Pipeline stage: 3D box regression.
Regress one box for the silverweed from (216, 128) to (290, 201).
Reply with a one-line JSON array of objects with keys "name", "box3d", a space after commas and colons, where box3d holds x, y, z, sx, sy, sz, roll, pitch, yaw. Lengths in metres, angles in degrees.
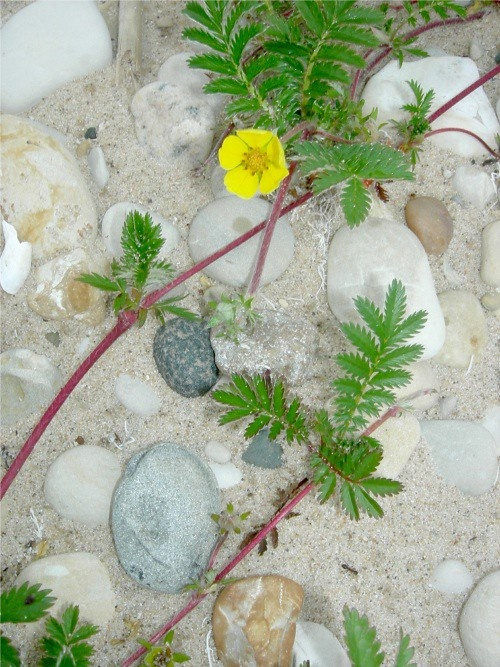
[{"name": "silverweed", "box3d": [0.030, -0.475, 1.833, 0.224, 0.100, 0.216, 26, 35, 35]}]
